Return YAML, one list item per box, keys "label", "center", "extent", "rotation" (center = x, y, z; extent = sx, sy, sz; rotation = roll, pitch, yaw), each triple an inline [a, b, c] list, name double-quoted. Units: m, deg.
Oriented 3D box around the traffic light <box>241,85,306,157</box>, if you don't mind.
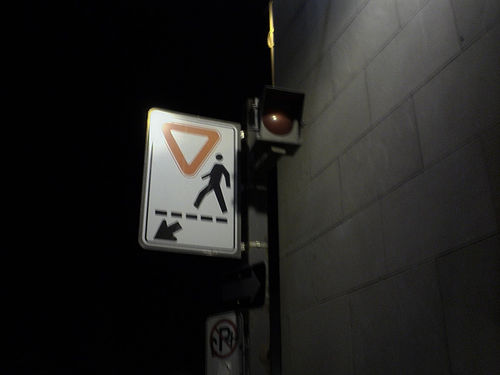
- label: "traffic light"
  center: [0.142, -0.350, 2.654]
  extent: [0.313, 0.303, 0.241]
  rotation: [2, -22, -9]
